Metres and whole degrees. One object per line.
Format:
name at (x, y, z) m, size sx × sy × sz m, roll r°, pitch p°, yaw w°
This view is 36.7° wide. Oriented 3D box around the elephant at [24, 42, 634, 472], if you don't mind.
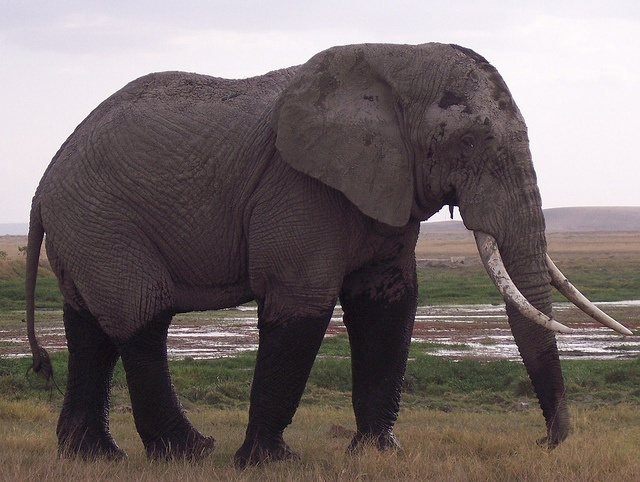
elephant at (-0.223, 0.100, 12.208) m, size 7.116 × 5.024 × 3.392 m, roll -2°, pitch -4°, yaw 8°
